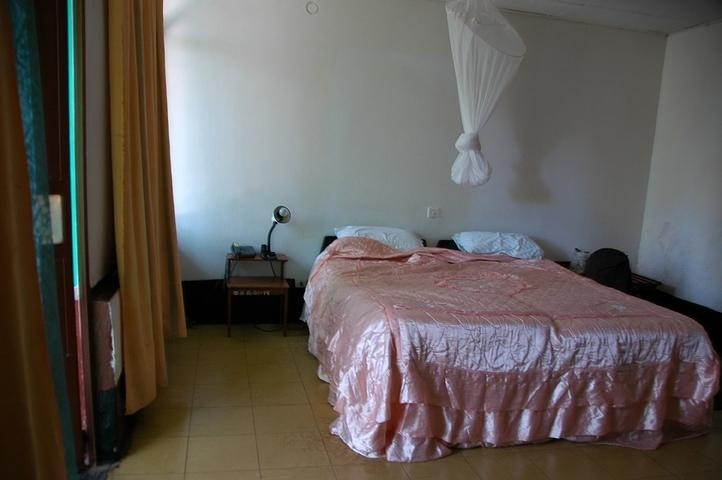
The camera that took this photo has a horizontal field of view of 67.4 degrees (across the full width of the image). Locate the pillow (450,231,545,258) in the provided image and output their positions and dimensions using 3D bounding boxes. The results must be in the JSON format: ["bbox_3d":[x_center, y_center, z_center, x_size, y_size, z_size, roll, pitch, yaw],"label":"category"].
[{"bbox_3d":[1.377,0.042,5.453,0.497,0.136,0.410,1,17,-4],"label":"pillow"}]

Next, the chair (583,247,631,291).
[{"bbox_3d":[2.343,0.256,5.113,0.232,0.418,0.342,-20,23,-22],"label":"chair"}]

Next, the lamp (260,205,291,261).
[{"bbox_3d":[-0.803,-0.090,5.133,0.314,0.471,0.344,-3,6,-7],"label":"lamp"}]

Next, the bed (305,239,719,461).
[{"bbox_3d":[0.943,0.773,3.724,1.672,0.638,1.726,-2,17,-6],"label":"bed"}]

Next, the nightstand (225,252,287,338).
[{"bbox_3d":[-0.968,0.500,5.078,0.595,0.672,0.527,1,5,-21],"label":"nightstand"}]
